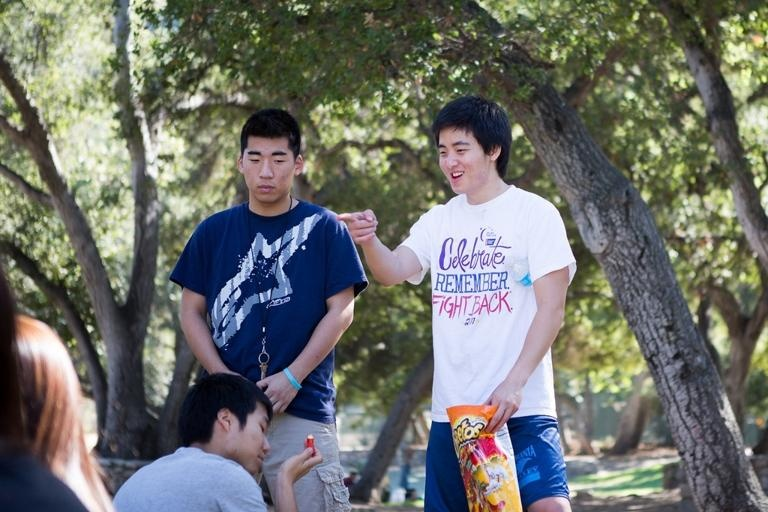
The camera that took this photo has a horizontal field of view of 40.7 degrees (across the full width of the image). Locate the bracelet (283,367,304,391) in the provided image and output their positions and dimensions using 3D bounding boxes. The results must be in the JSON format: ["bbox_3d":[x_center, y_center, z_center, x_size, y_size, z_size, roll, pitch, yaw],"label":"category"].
[{"bbox_3d":[-0.789,1.062,8.869,0.044,0.169,0.160,-37,-8,-11],"label":"bracelet"}]
